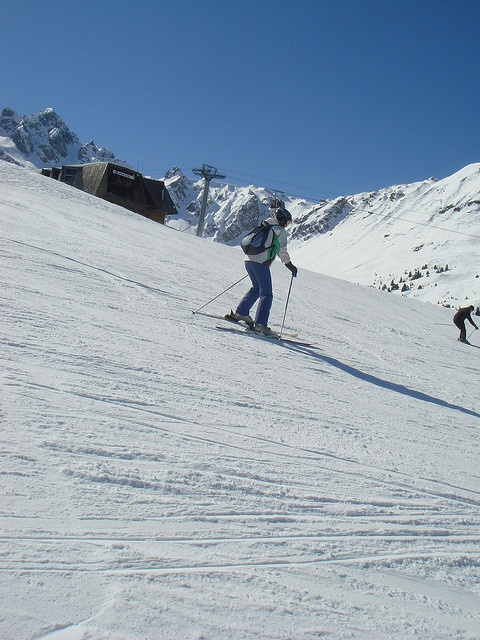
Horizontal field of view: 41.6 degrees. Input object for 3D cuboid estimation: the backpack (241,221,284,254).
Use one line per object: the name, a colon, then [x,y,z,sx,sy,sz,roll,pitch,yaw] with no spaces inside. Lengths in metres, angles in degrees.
backpack: [0.200,-0.852,6.554,0.434,0.368,0.234,13,1,38]

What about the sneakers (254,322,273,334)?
sneakers: [0.245,0.090,6.562,0.208,0.115,0.064,11,2,-20]

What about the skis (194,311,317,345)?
skis: [0.144,0.084,6.675,1.151,0.114,0.194,10,22,11]
